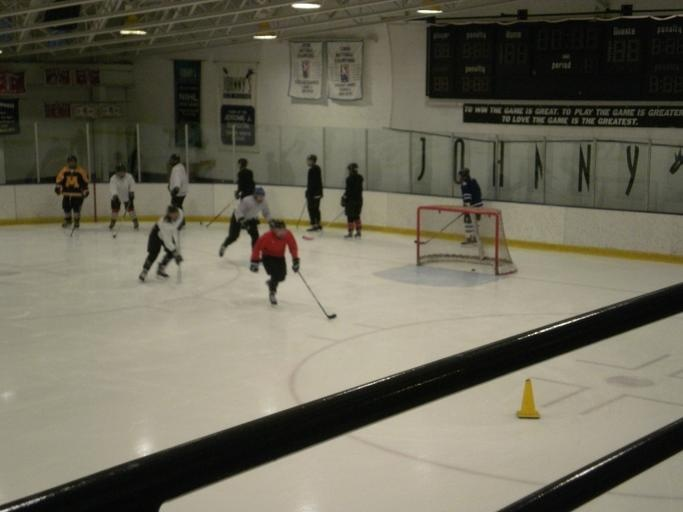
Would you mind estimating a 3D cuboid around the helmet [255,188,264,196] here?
[{"bbox_3d":[-1.671,-1.318,12.280,0.169,0.165,0.354,-2,12,-10],"label":"helmet"}]

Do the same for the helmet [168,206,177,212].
[{"bbox_3d":[-2.997,-0.835,10.611,0.102,0.086,0.109,4,6,8],"label":"helmet"}]

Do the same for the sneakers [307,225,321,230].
[{"bbox_3d":[-0.750,-0.760,16.396,0.429,0.218,0.139,1,6,-9],"label":"sneakers"}]

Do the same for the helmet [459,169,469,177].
[{"bbox_3d":[2.819,-1.889,13.679,0.161,0.172,0.406,4,12,20],"label":"helmet"}]

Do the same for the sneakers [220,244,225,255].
[{"bbox_3d":[-2.539,-0.113,12.770,0.108,0.283,0.086,-4,-9,39],"label":"sneakers"}]

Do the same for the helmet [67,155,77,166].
[{"bbox_3d":[-7.165,-2.558,16.041,0.238,0.231,0.280,6,17,11],"label":"helmet"}]

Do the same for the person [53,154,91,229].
[{"bbox_3d":[-7.443,-1.751,16.413,1.030,2.001,0.781,10,15,41],"label":"person"}]

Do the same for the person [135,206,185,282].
[{"bbox_3d":[-3.212,-0.253,11.033,0.686,1.456,0.572,11,22,-7],"label":"person"}]

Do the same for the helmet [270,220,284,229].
[{"bbox_3d":[-1.036,-0.531,9.603,0.142,0.154,0.595,-3,12,-16],"label":"helmet"}]

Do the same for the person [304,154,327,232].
[{"bbox_3d":[-0.727,-1.664,16.075,0.417,2.049,0.413,-3,12,-14],"label":"person"}]

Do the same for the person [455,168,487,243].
[{"bbox_3d":[3.077,-1.177,14.131,0.608,2.037,1.083,7,27,21],"label":"person"}]

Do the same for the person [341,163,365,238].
[{"bbox_3d":[0.266,-1.405,15.380,0.518,1.885,0.489,0,11,0],"label":"person"}]

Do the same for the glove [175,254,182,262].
[{"bbox_3d":[-2.909,0.038,10.745,0.104,0.124,0.163,12,-2,-12],"label":"glove"}]

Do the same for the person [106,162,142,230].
[{"bbox_3d":[-5.990,-1.601,16.407,0.769,1.784,0.560,-5,12,-24],"label":"person"}]

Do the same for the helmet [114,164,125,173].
[{"bbox_3d":[-5.972,-2.372,16.255,0.209,0.223,0.332,-6,13,-26],"label":"helmet"}]

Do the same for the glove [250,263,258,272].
[{"bbox_3d":[-1.408,0.184,9.688,0.162,0.178,0.101,0,-2,-23],"label":"glove"}]

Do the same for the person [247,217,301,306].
[{"bbox_3d":[-1.102,0.022,9.977,0.750,1.387,1.116,-1,11,-6],"label":"person"}]

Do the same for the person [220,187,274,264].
[{"bbox_3d":[-2.013,-0.628,12.630,0.997,1.618,0.781,15,16,-2],"label":"person"}]
